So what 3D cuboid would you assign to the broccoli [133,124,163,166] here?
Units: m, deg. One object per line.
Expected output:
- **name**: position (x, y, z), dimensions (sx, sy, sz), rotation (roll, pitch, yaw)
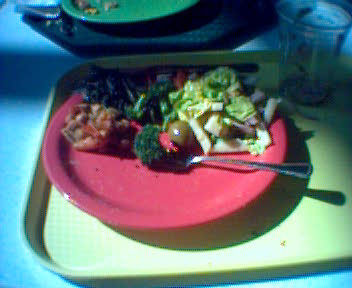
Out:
- **broccoli**: position (-0.055, 0.004, 0.754), dimensions (0.052, 0.032, 0.080), rotation (-6, 81, 19)
